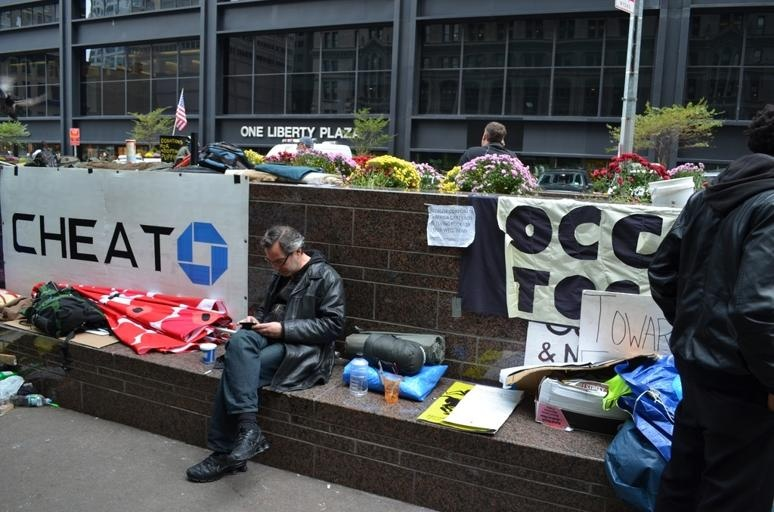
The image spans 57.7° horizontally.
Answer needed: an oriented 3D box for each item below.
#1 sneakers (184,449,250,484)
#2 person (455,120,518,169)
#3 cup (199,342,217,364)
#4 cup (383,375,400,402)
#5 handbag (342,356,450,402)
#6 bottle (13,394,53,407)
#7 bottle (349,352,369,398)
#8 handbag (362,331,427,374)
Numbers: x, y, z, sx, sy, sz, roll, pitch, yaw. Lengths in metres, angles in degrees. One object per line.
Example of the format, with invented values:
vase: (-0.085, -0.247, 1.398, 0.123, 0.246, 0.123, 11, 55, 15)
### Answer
sneakers: (-1.703, 2.104, 7.014, 0.635, 0.286, 0.284, 1, 0, -16)
person: (1.471, -1.528, 9.870, 0.972, 0.713, 0.476, 9, 1, -23)
cup: (-2.007, 1.089, 7.847, 0.203, 0.193, 0.204, 1, 9, 0)
cup: (0.040, 1.352, 7.085, 0.174, 0.258, 0.096, 3, 8, 1)
handbag: (0.110, 1.284, 7.286, 0.591, 0.182, 0.594, 8, 3, 24)
bottle: (-4.205, 1.707, 8.280, 0.275, 0.105, 0.175, 3, 2, -29)
bottle: (-0.292, 1.254, 7.221, 0.204, 0.361, 0.180, 2, 8, -2)
handbag: (0.073, 1.011, 7.341, 0.578, 0.268, 0.338, 11, 13, 35)
